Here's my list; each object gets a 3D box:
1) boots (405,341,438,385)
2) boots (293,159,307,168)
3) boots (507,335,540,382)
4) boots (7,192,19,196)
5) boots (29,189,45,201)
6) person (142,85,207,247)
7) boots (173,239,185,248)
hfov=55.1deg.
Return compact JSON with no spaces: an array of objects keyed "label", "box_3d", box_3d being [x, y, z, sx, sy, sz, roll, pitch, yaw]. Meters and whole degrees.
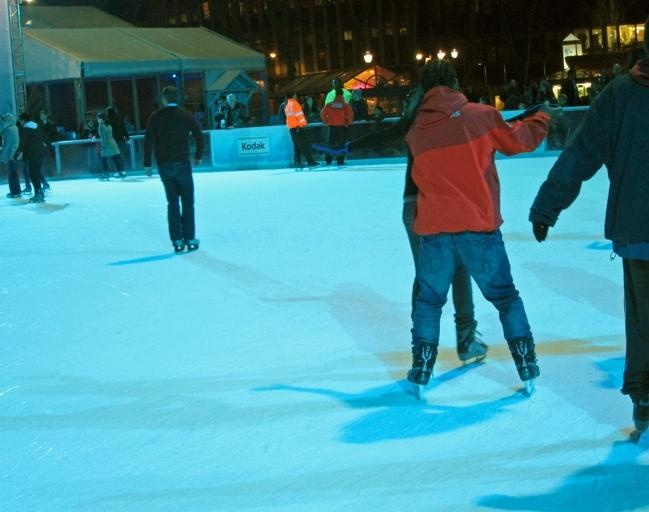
[{"label":"boots","box_3d":[0.580,0.631,3.674,0.137,0.238,0.362,8,-11,5]},{"label":"boots","box_3d":[-0.691,-2.710,18.458,0.317,0.188,0.305,-1,3,-23]},{"label":"boots","box_3d":[1.105,0.549,3.450,0.117,0.302,0.139,-15,16,22]},{"label":"boots","box_3d":[-8.163,-1.616,16.297,0.370,0.122,0.137,5,15,36]},{"label":"boots","box_3d":[-6.871,-1.441,14.900,0.325,0.272,0.535,-9,13,-24]},{"label":"person","box_3d":[-1.921,-1.104,8.066,0.761,2.133,0.512,-7,12,-10]},{"label":"boots","box_3d":[-1.922,-0.162,8.267,0.100,0.099,0.124,-3,-9,22]}]
